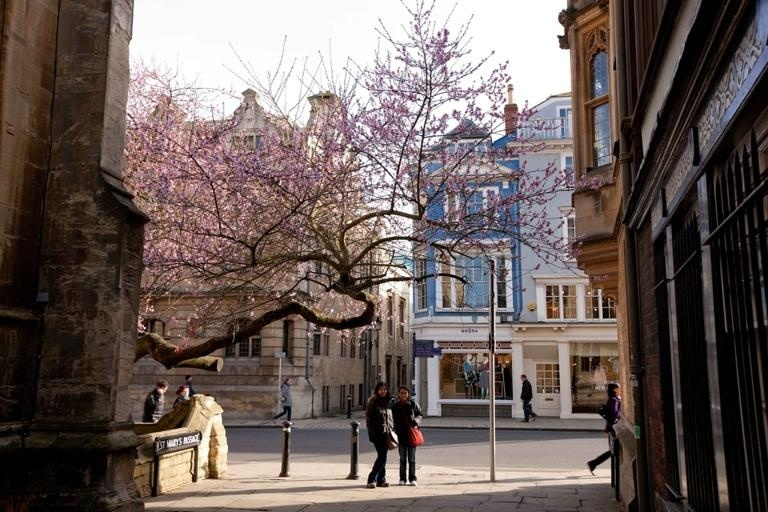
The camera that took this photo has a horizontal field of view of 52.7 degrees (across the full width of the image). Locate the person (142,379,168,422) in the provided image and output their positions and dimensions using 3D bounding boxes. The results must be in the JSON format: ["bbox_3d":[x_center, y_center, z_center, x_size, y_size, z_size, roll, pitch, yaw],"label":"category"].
[{"bbox_3d":[-5.406,3.410,18.387,0.461,0.918,2.550,2,-6,-16],"label":"person"}]

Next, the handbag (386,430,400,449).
[{"bbox_3d":[0.153,3.499,14.801,0.169,0.326,0.338,-16,-18,11],"label":"handbag"}]

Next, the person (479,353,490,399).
[{"bbox_3d":[4.201,5.100,32.942,0.324,1.824,0.316,2,-5,-11],"label":"person"}]

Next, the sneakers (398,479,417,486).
[{"bbox_3d":[0.448,4.319,14.731,0.210,0.087,0.129,-7,-21,12],"label":"sneakers"}]

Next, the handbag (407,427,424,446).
[{"bbox_3d":[0.625,3.496,15.132,0.186,0.386,0.589,-1,-6,14],"label":"handbag"}]

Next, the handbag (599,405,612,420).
[{"bbox_3d":[4.296,3.029,15.000,0.282,0.317,0.217,-4,1,-2],"label":"handbag"}]

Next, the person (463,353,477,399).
[{"bbox_3d":[3.672,5.107,33.067,0.634,1.803,0.272,0,-5,5],"label":"person"}]
